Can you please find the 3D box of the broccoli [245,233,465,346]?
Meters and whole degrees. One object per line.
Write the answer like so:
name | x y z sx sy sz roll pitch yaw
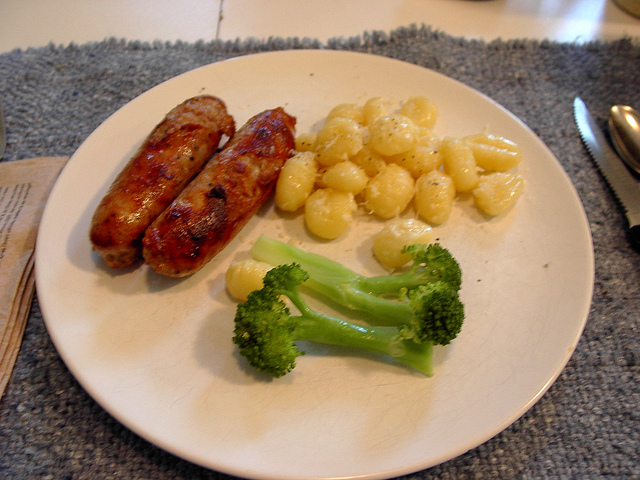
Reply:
broccoli | 0.179 0.152 2.014 0.627 0.355 0.236 18 72 11

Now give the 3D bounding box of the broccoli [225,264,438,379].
broccoli | 0.030 0.308 1.919 0.630 0.239 0.392 13 38 -3
